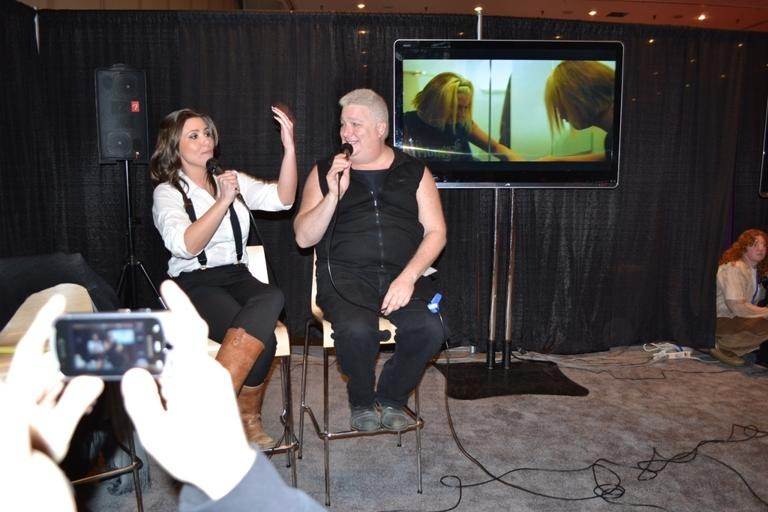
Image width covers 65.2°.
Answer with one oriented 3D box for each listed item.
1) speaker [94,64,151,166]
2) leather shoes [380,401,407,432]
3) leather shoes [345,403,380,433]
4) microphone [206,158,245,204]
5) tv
[{"bbox_3d":[-1.853,-0.990,4.231,0.361,0.657,0.187,-5,19,-17],"label":"speaker"},{"bbox_3d":[0.055,0.838,3.149,0.153,0.118,0.159,0,17,-1],"label":"leather shoes"},{"bbox_3d":[-0.099,0.838,3.098,0.157,0.130,0.110,-1,18,-4],"label":"leather shoes"},{"bbox_3d":[-0.881,-0.398,3.323,0.191,0.267,0.482,-4,18,-13],"label":"microphone"},{"bbox_3d":[0.857,-1.010,4.218,1.207,0.753,0.049,0,3,-5],"label":"tv"}]
